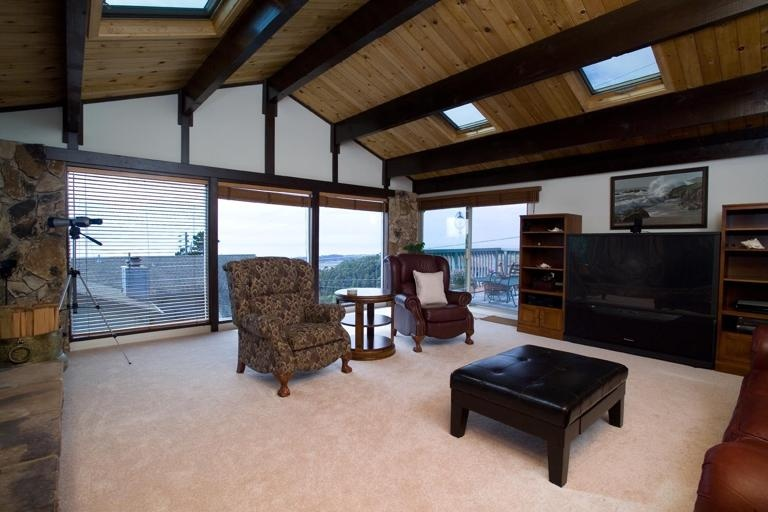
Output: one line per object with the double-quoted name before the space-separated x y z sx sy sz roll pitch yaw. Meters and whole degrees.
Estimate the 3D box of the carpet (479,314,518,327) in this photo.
"carpet" 1.899 1.037 7.727 0.517 0.052 0.784 -4 3 -38

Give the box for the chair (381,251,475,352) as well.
"chair" 0.644 0.585 6.596 1.008 1.196 1.016 -3 3 -14

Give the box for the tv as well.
"tv" 3.271 0.238 5.915 1.166 0.683 0.087 2 2 43

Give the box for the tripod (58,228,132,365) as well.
"tripod" -3.515 0.391 5.737 0.650 1.684 0.750 -5 4 -34

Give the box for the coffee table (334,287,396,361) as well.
"coffee table" -0.160 0.848 6.211 0.846 0.824 0.831 0 0 -33

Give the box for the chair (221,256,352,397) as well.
"chair" -1.124 0.774 5.777 1.475 1.529 1.450 -4 -5 44

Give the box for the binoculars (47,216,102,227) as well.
"binoculars" -3.558 -0.387 5.506 0.432 0.121 0.113 1 33 8
